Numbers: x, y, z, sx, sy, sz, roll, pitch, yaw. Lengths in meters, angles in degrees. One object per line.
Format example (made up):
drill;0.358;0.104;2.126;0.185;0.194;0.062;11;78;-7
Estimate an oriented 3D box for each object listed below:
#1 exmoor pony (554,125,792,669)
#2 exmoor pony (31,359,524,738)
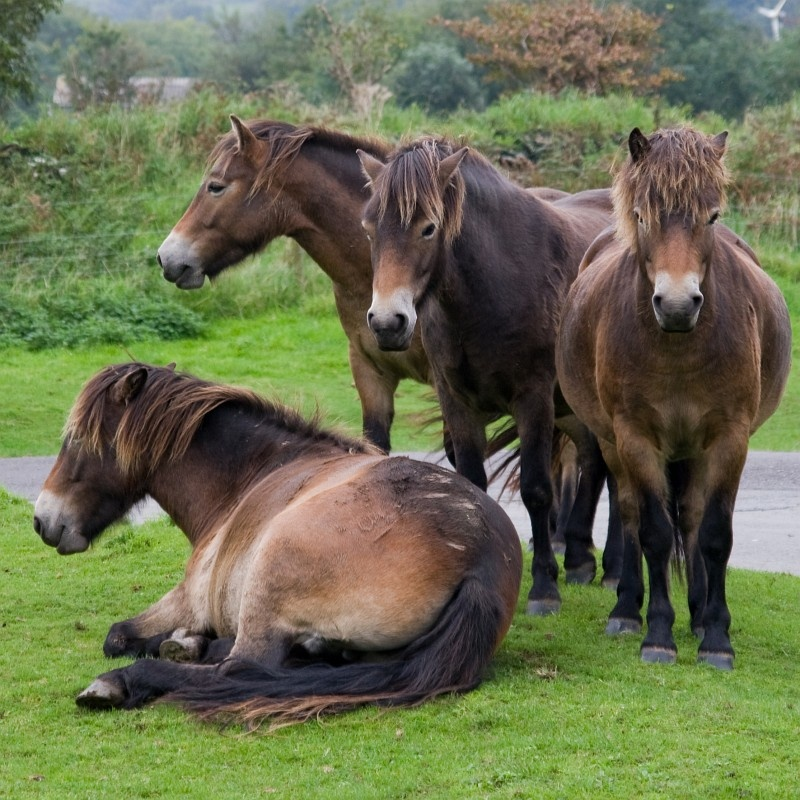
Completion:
exmoor pony;1.686;-0.022;8.799;1.112;2.939;1.531;1;2;-13
exmoor pony;-0.890;0.853;8.907;3.132;1.864;1.485;8;-5;35
